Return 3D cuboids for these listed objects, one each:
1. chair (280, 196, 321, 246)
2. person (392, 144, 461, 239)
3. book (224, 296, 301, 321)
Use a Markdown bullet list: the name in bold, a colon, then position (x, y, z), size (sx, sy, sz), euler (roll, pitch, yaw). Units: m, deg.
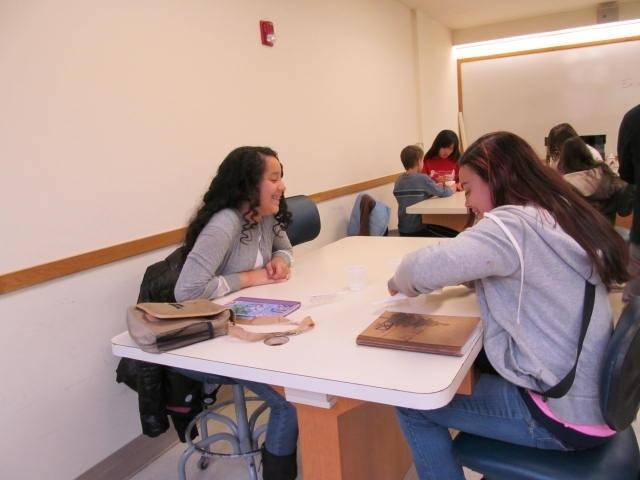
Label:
- **chair**: position (-0.112, -0.136, 3.152), size (0.357, 0.308, 0.290), euler (4, 6, 34)
- **person**: position (1.062, -0.460, 4.604), size (0.660, 0.839, 0.579), euler (6, 8, 23)
- **book**: position (-0.216, 0.270, 1.858), size (0.249, 0.021, 0.190), euler (-1, 10, -3)
